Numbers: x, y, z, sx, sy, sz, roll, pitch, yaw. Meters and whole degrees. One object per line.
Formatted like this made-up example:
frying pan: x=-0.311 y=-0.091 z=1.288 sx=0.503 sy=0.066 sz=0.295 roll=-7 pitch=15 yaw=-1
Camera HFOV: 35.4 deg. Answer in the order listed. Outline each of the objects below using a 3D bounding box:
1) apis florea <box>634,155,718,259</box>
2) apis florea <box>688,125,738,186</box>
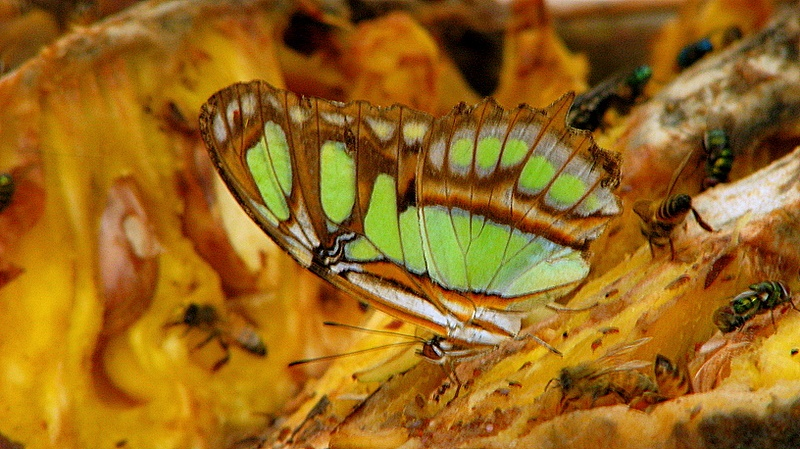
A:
apis florea: x=1.196 y=-0.020 z=5.395 sx=0.274 sy=0.303 sz=0.259 roll=-25 pitch=27 yaw=-35
apis florea: x=1.421 y=-0.323 z=5.534 sx=0.069 sy=0.136 sz=0.230 roll=-1 pitch=56 yaw=41
